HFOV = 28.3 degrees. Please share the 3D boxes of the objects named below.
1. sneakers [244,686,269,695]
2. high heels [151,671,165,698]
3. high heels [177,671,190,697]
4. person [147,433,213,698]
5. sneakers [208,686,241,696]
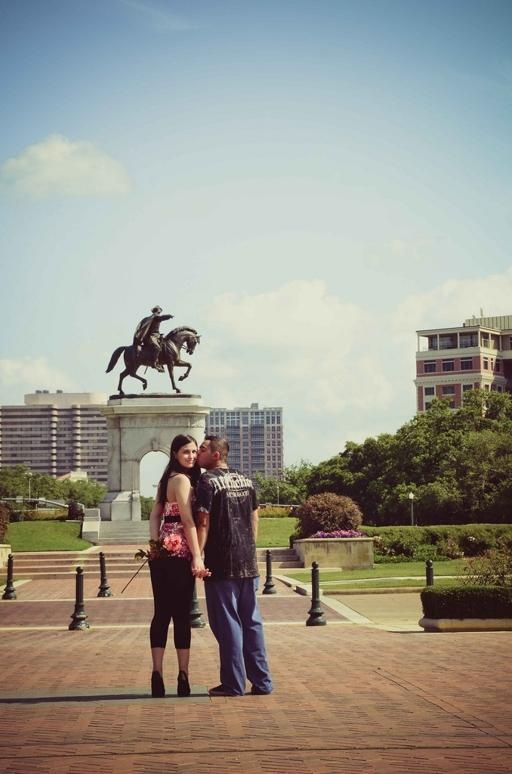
[{"bbox_3d":[0.020,2.303,7.701,0.182,0.057,0.186,-1,-5,4],"label":"sneakers"},{"bbox_3d":[-0.740,2.239,7.654,0.092,0.186,0.089,0,-5,-3],"label":"high heels"},{"bbox_3d":[-0.548,2.247,7.666,0.078,0.088,0.211,1,-44,5],"label":"high heels"},{"bbox_3d":[-0.605,1.358,7.816,0.450,2.000,0.646,0,-5,-6],"label":"person"},{"bbox_3d":[-0.241,2.303,7.661,0.236,0.087,0.081,-1,-2,13],"label":"sneakers"}]
